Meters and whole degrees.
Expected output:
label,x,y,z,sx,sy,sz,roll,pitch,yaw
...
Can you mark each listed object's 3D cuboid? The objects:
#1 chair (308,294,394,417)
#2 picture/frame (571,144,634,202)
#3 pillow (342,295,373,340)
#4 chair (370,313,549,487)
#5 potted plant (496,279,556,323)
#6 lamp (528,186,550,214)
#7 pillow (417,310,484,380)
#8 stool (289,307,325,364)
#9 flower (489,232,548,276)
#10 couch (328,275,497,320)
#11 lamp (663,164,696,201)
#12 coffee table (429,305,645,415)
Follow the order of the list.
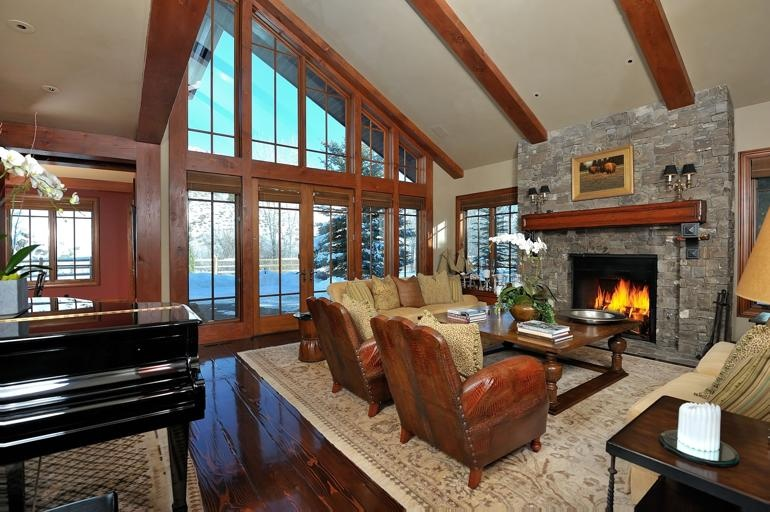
label,x,y,z,sx,sy,sz,roll,pitch,yaw
chair,-0.205,1.032,5.052,1.053,1.169,1.129,-4,1,-42
picture/frame,3.367,-1.274,7.056,0.076,0.814,0.981,-2,3,-35
pillow,-0.255,0.655,4.817,0.124,0.384,0.401,-29,15,-4
chair,0.690,1.202,4.425,1.421,1.263,1.403,-3,2,-18
potted plant,1.824,0.552,5.777,0.637,0.456,0.647,17,-26,-27
lamp,2.597,-0.947,7.740,0.479,0.526,0.312,-3,-9,13
pillow,0.640,0.757,4.040,0.180,0.579,0.546,-24,1,-36
stool,-0.953,1.094,6.178,0.559,0.586,0.567,2,-4,-18
flower,2.389,-0.054,7.521,1.116,0.449,0.607,23,-25,-38
couch,0.496,0.823,7.308,0.902,0.894,2.488,8,3,40
lamp,4.050,-1.012,6.351,0.402,0.470,0.186,0,6,23
coffee table,1.838,1.026,5.595,1.290,0.411,1.444,-6,9,-39
